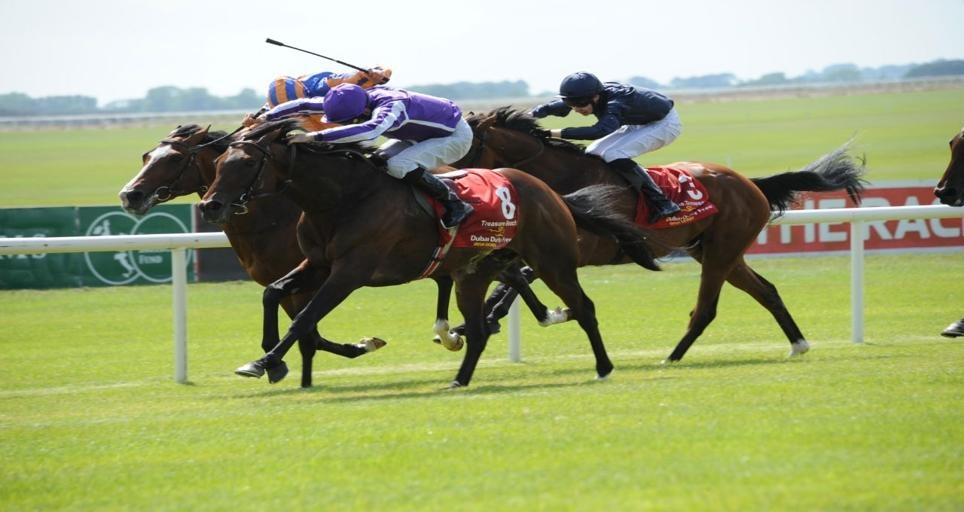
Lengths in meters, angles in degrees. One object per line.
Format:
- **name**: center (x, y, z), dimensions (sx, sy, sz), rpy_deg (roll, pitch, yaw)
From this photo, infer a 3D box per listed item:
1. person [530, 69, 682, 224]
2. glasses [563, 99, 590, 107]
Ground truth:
- **person**: center (1.170, -1.107, 10.546), dimensions (1.617, 1.000, 0.655), rpy_deg (7, 5, -7)
- **glasses**: center (0.906, -1.427, 10.305), dimensions (0.111, 0.042, 0.128), rpy_deg (1, 5, 36)
